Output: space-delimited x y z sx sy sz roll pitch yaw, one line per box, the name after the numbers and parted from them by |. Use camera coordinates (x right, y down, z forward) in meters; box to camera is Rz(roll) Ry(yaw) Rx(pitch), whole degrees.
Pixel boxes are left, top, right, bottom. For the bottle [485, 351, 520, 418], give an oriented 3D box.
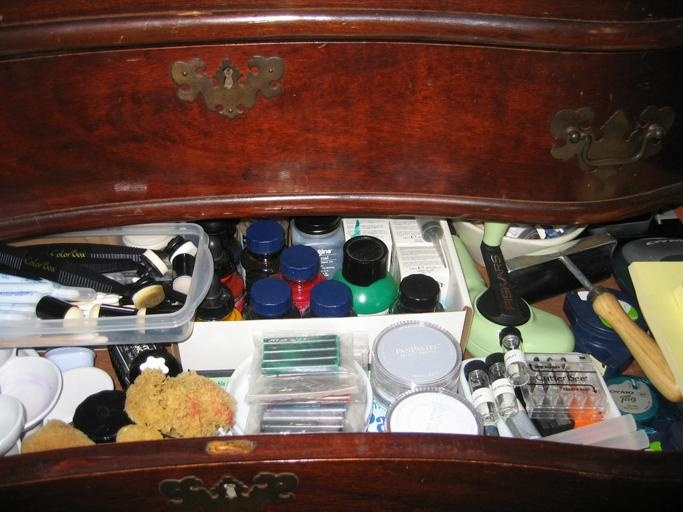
0.214 0.173 0.697 0.032 0.031 0.096 37 30 -19 | bottle

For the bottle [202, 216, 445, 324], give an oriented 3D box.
-0.059 -0.011 0.818 0.240 0.203 0.206 -2 55 -4 | bottle

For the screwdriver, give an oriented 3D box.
0.381 0.088 0.766 0.051 0.040 0.271 -4 46 -11 | screwdriver

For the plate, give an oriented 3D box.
-0.368 0.173 0.676 0.119 0.048 0.122 13 40 -9 | plate
